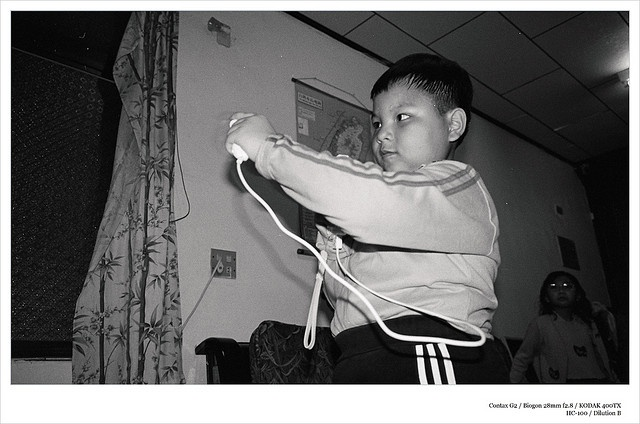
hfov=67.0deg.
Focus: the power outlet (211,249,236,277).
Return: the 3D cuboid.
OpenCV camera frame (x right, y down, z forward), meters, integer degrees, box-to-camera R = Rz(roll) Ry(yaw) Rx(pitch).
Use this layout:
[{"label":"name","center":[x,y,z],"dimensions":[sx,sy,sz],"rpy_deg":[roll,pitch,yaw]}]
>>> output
[{"label":"power outlet","center":[-0.508,0.267,2.526],"dimensions":[0.138,0.145,0.016],"rpy_deg":[8,-17,-38]}]
